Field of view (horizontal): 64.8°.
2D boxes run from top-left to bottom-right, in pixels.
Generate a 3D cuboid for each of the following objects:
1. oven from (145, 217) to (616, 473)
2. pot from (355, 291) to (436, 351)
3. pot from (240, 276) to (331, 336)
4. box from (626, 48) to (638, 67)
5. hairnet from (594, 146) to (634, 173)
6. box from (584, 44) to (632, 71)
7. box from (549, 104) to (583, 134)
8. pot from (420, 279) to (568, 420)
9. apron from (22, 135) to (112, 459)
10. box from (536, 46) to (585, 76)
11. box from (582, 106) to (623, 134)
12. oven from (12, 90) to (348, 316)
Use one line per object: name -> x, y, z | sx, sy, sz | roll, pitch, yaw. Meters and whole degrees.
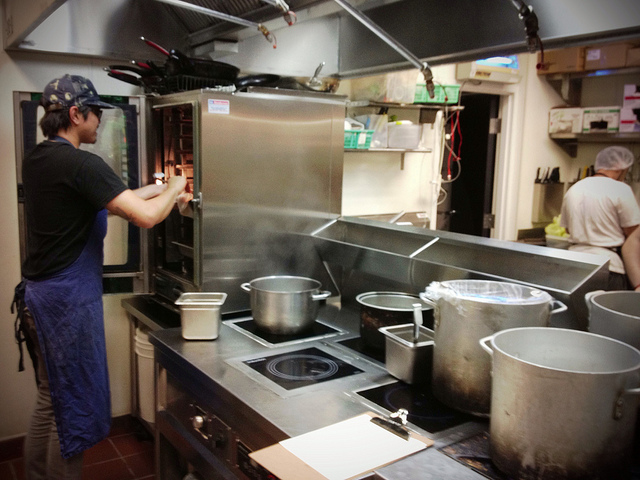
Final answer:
oven -> 0.153, 0.383, 1.877 | 0.928, 0.988, 1.286 | 2, 7, -34
pot -> 0.302, 0.328, 2.008 | 0.304, 0.138, 0.296 | 1, 5, 0
pot -> -0.171, 0.316, 2.384 | 0.456, 0.211, 0.335 | 6, 8, 28
box -> 2.662, -1.550, 4.278 | 0.064, 0.144, 0.114 | -5, 11, -23
hairnet -> 2.265, -0.608, 3.853 | 0.306, 0.314, 0.102 | 2, -36, 31
box -> 2.510, -1.604, 4.418 | 0.457, 0.234, 0.218 | 5, 3, 30
box -> 2.440, -1.181, 4.974 | 0.133, 0.261, 0.375 | -5, 11, -22
pot -> 0.521, 0.329, 1.660 | 0.379, 0.297, 0.400 | -1, 14, 0
apron -> -1.103, 0.421, 2.268 | 0.363, 1.086, 0.207 | -7, 12, -30
box -> 2.281, -1.688, 4.787 | 0.451, 0.207, 0.414 | 6, 12, 36
box -> 2.597, -1.102, 4.660 | 0.104, 0.234, 0.385 | -5, 11, -21
oven -> -0.709, -0.256, 3.000 | 1.776, 1.122, 1.104 | -9, 16, -41
